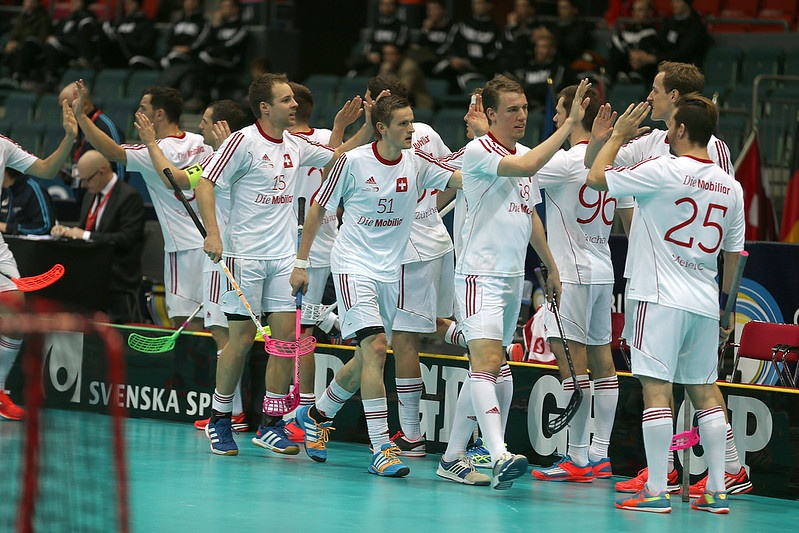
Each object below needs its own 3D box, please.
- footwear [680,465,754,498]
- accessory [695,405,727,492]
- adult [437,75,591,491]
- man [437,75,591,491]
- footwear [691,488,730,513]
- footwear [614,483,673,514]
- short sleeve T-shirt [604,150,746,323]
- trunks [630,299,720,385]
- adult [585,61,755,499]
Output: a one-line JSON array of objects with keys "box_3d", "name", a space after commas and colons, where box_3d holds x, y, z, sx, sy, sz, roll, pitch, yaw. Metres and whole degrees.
[{"box_3d": [2.354, 1.559, 6.738, 0.472, 0.232, 0.207, -3, -6, -11], "name": "footwear"}, {"box_3d": [2.176, 1.293, 6.373, 0.214, 0.667, 0.246, -4, 4, 0], "name": "accessory"}, {"box_3d": [0.781, 0.124, 6.656, 0.723, 2.966, 1.056, -3, 8, -35], "name": "adult"}, {"box_3d": [0.766, 0.126, 6.642, 0.710, 2.966, 1.033, -4, 8, -38], "name": "man"}, {"box_3d": [2.158, 1.627, 6.341, 0.117, 0.117, 0.251, 1, 1, -30], "name": "footwear"}, {"box_3d": [1.709, 1.619, 6.358, 0.347, 0.162, 0.165, 1, -7, 20], "name": "footwear"}, {"box_3d": [1.946, -0.218, 6.411, 1.027, 1.056, 0.500, 6, 5, -1], "name": "short sleeve T-shirt"}, {"box_3d": [1.966, 0.531, 6.422, 0.685, 0.581, 0.392, 8, 0, -12], "name": "trunks"}, {"box_3d": [2.202, 0.153, 7.426, 1.268, 3.364, 1.149, 8, 23, 29], "name": "adult"}]
